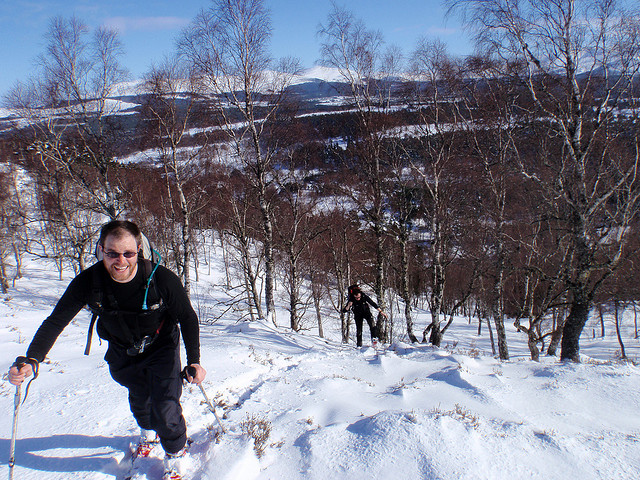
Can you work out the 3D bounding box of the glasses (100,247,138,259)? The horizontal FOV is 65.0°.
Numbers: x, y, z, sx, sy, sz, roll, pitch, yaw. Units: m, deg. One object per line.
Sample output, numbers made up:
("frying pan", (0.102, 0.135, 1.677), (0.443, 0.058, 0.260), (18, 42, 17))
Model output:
("glasses", (-3.764, 0.254, 9.440), (0.601, 0.184, 0.114), (0, 1, -18))
